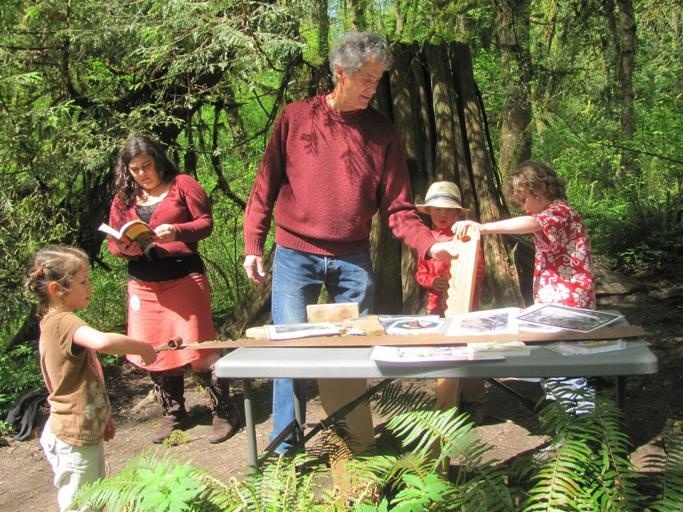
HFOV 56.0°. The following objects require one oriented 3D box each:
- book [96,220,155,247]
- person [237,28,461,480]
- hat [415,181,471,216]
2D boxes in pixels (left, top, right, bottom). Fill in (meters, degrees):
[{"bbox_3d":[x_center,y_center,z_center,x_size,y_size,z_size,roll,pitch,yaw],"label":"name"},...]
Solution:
[{"bbox_3d":[-1.535,-0.156,4.672,0.358,0.240,0.413,-5,12,-6],"label":"book"},{"bbox_3d":[0.060,-0.025,4.528,1.440,2.893,0.693,6,17,9],"label":"person"},{"bbox_3d":[0.821,-0.480,5.075,0.382,0.179,0.337,2,-5,-42],"label":"hat"}]
